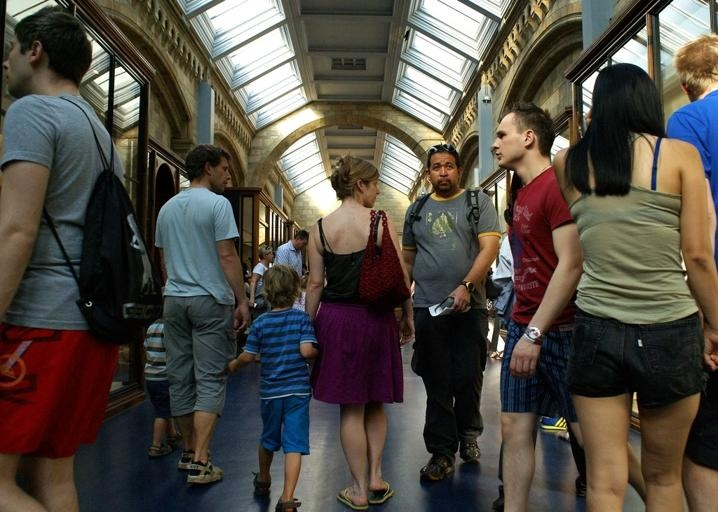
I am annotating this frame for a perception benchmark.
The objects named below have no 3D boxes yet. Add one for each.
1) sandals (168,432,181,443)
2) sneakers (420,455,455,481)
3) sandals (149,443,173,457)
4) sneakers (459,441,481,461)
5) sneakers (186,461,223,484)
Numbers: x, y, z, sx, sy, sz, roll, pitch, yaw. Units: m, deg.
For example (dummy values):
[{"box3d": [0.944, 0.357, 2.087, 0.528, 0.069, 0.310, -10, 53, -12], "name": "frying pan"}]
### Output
[{"box3d": [-1.543, 1.527, 4.506, 0.059, 0.070, 0.144, 1, 4, 4], "name": "sandals"}, {"box3d": [0.544, 1.476, 3.725, 0.100, 0.150, 0.290, -6, -15, 34], "name": "sneakers"}, {"box3d": [-1.550, 1.521, 4.231, 0.071, 0.098, 0.199, 3, 3, 39], "name": "sandals"}, {"box3d": [0.837, 1.470, 4.019, 0.082, 0.097, 0.204, 0, 1, 7], "name": "sneakers"}, {"box3d": [-1.038, 1.474, 3.695, 0.112, 0.151, 0.299, 0, -2, 21], "name": "sneakers"}]
